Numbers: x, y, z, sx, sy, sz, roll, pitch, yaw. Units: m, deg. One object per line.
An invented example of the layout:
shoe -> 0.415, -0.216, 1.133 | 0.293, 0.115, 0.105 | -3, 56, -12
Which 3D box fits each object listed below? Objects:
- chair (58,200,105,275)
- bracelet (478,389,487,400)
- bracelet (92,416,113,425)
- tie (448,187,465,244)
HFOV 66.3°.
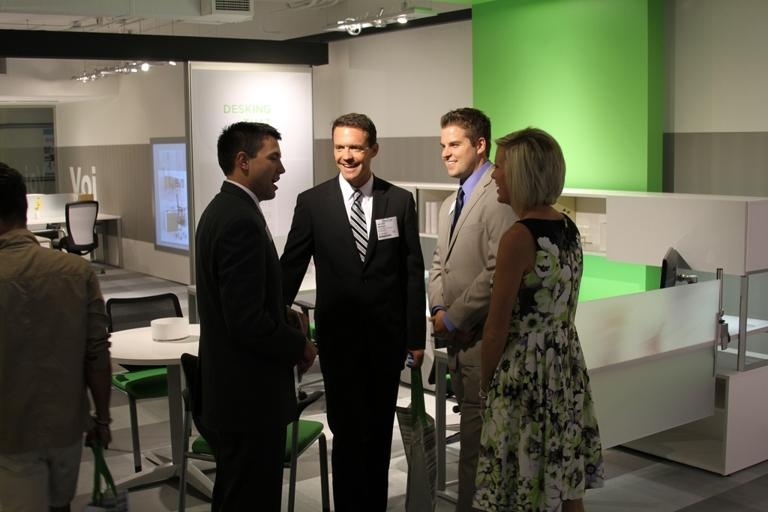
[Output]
chair -> -6.014, -0.349, 11.664 | 0.809, 1.412, 0.883 | -4, 1, -2
bracelet -> 0.497, 0.692, 2.951 | 0.050, 0.077, 0.023 | 0, -1, 18
bracelet -> -1.337, 0.769, 2.779 | 0.065, 0.028, 0.049 | 3, -10, 11
tie -> 0.444, -0.270, 3.464 | 0.052, 0.405, 0.046 | 8, -17, 19
